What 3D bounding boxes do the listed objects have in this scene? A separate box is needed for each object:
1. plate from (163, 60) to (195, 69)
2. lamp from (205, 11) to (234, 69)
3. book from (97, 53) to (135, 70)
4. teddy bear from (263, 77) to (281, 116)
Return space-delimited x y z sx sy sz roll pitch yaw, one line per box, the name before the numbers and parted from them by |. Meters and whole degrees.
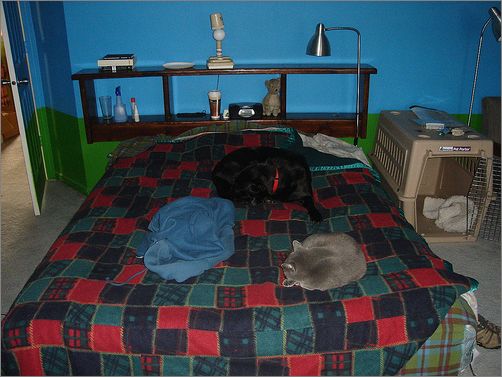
plate | -0.672 -1.149 3.651 0.283 0.053 0.320 -7 23 -10
lamp | -0.304 -1.343 3.565 0.238 0.473 0.318 -6 25 -4
book | -1.219 -1.167 3.606 0.331 0.135 0.246 -7 23 -9
teddy bear | 0.269 -0.882 3.789 0.220 0.316 0.192 -16 32 -32
